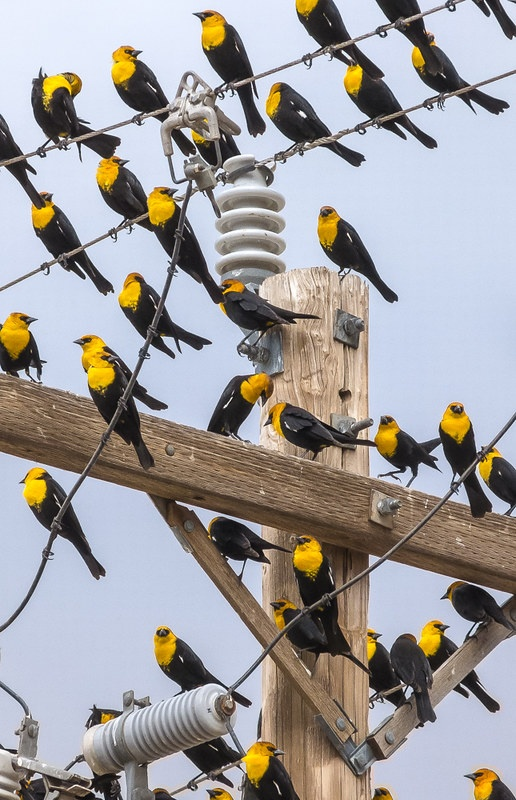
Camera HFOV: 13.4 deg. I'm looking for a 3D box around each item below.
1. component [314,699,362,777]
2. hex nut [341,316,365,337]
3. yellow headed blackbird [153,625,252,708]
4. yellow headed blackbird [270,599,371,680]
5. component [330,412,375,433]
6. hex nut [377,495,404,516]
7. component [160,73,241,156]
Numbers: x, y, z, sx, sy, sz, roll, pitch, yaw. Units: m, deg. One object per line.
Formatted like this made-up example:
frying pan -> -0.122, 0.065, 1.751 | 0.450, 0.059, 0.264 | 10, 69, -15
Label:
component -> 0.318, 1.189, 7.907 | 0.131, 0.248, 0.071 | -29, -6, -39
hex nut -> 0.377, -0.298, 8.450 | 0.077, 0.069, 0.037 | 4, 18, -7
yellow headed blackbird -> -0.245, 1.048, 8.897 | 0.447, 0.308, 0.147 | 10, -11, -31
yellow headed blackbird -> 0.225, 0.823, 7.969 | 0.379, 0.275, 0.135 | 2, -14, 4
component -> 0.342, 0.065, 8.098 | 0.103, 0.088, 0.113 | 10, -6, -39
hex nut -> 0.498, 0.367, 8.066 | 0.071, 0.067, 0.029 | -11, -8, 22
component -> -0.187, -0.930, 7.171 | 0.189, 0.300, 0.294 | -11, -11, 22
